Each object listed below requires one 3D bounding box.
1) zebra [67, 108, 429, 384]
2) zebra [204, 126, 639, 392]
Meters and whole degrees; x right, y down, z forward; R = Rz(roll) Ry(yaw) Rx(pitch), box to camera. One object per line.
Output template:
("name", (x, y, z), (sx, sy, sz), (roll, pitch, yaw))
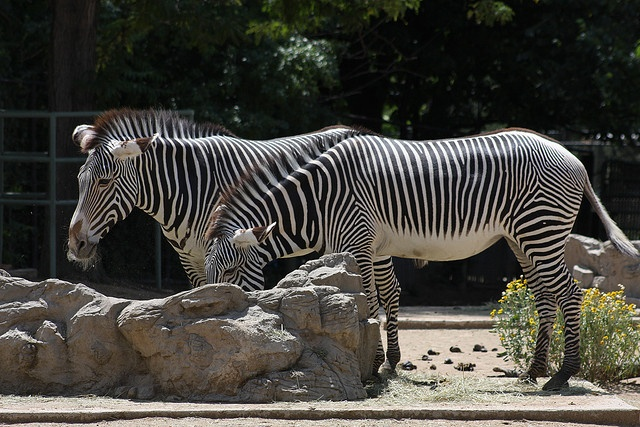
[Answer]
("zebra", (-1.001, -0.205, 17.251), (6.905, 4.633, 2.156), (0, -2, -15))
("zebra", (1.137, 0.546, 14.555), (4.799, 2.509, 0.808), (3, -1, -1))
